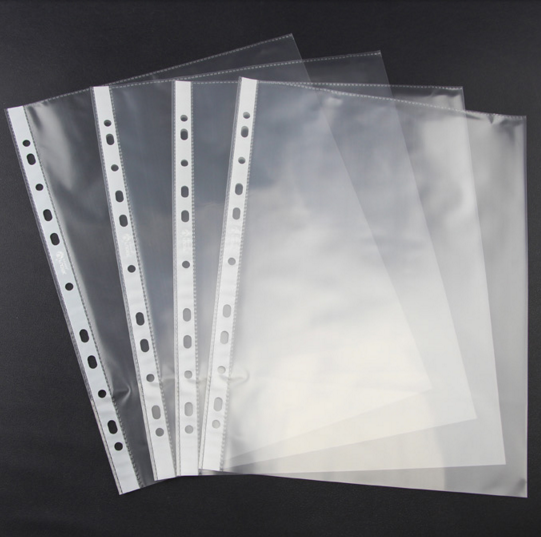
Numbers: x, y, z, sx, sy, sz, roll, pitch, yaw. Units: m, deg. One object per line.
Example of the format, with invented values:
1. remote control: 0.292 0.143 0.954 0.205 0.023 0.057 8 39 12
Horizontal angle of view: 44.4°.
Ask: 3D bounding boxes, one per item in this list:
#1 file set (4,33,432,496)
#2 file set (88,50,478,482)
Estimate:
1. file set: -0.179 -0.012 1.342 0.858 0.185 0.756 -12 -99 0
2. file set: -0.016 -0.009 1.416 0.767 0.174 0.685 -6 -93 0
